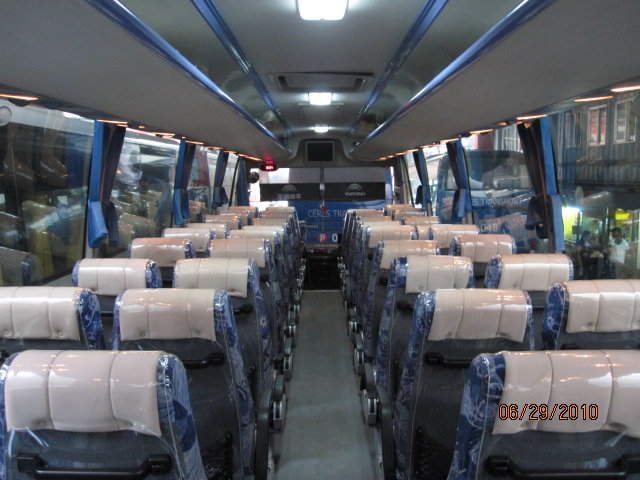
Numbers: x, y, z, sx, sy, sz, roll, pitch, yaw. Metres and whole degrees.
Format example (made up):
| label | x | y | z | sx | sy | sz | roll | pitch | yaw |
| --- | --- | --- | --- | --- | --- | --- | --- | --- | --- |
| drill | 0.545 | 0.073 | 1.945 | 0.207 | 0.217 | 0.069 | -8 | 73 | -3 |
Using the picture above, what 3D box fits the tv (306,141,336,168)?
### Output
| label | x | y | z | sx | sy | sz | roll | pitch | yaw |
| --- | --- | --- | --- | --- | --- | --- | --- | --- | --- |
| tv | 0.015 | -3.563 | 18.174 | 1.056 | 1.012 | 0.166 | 0 | 10 | 3 |
